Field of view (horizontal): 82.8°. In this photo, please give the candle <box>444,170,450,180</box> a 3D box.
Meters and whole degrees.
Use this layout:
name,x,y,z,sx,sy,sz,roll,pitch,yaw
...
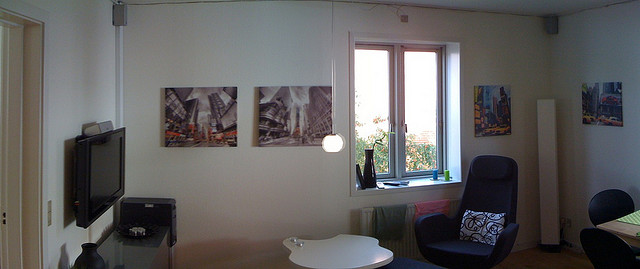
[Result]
name,x,y,z,sx,sy,sz,roll,pitch,yaw
candle,2.665,0.853,7.693,0.102,0.190,0.168,-2,4,19

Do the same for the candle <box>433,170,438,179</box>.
name,x,y,z,sx,sy,sz,roll,pitch,yaw
candle,2.441,0.844,7.722,0.067,0.193,0.198,0,5,41

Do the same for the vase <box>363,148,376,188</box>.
name,x,y,z,sx,sy,sz,roll,pitch,yaw
vase,0.985,0.689,7.442,0.256,0.776,0.224,-4,5,3

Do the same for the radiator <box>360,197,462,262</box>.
name,x,y,z,sx,sy,sz,roll,pitch,yaw
radiator,1.690,1.877,7.034,1.797,0.729,0.113,0,7,-16
